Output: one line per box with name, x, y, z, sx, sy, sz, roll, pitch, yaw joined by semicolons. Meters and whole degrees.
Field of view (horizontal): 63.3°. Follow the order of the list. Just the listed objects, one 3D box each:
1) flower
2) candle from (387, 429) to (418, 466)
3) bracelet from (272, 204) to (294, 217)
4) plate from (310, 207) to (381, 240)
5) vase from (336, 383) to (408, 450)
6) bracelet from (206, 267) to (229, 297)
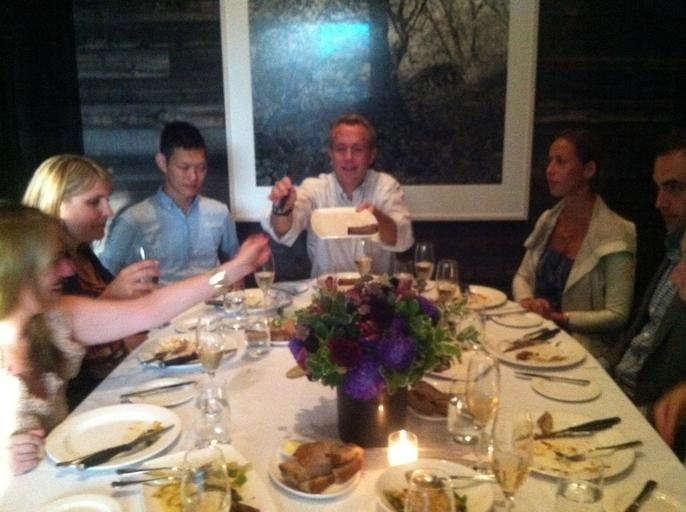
flower;0.106;0.131;1.624;0.417;0.231;0.418;8;21;37
candle;0.174;0.563;1.630;0.095;0.076;0.097;-3;-2;29
bracelet;-0.334;-0.251;3.043;0.098;0.086;0.147;-5;17;-9
plate;0.012;-0.155;2.730;0.330;0.119;0.410;4;18;21
vase;0.087;0.495;1.788;0.208;0.196;0.186;-1;6;-7
bracelet;-0.488;0.099;2.147;0.071;0.094;0.034;1;-1;-38
